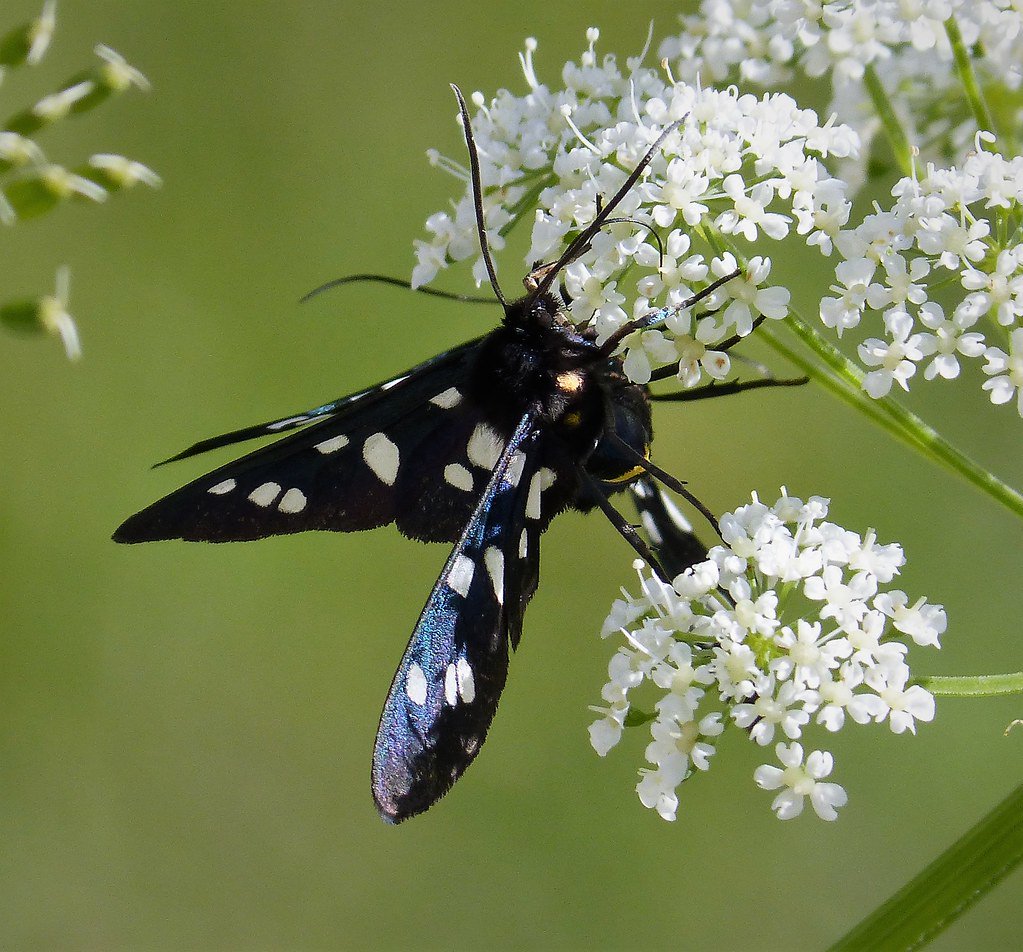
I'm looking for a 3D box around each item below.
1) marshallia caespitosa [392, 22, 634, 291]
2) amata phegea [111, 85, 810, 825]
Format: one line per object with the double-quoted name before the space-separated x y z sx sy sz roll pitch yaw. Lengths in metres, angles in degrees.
"marshallia caespitosa" 0.032 -0.845 3.156 0.627 0.279 0.679 -25 -118 29
"amata phegea" -0.158 0.018 3.209 1.373 0.968 2.234 -22 -56 -28
